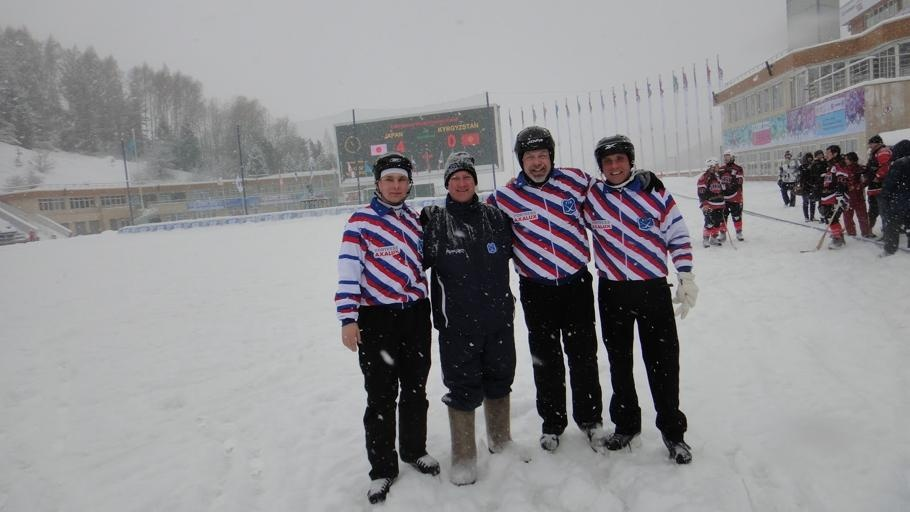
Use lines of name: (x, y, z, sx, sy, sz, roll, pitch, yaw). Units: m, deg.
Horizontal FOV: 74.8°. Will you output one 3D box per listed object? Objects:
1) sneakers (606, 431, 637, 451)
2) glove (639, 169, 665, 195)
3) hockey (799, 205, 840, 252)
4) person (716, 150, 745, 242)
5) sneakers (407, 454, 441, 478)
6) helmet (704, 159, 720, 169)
sneakers: (3.284, 3.641, 11.738, 0.574, 0.284, 0.229, -9, 5, 0)
glove: (3.875, -1.465, 11.684, 0.519, 0.443, 0.212, -6, 7, -11)
hockey: (11.714, -0.845, 18.976, 0.323, 0.278, 1.941, 29, 69, 38)
person: (9.259, -1.969, 19.762, 0.692, 2.887, 1.457, -2, 8, 24)
sneakers: (-0.571, 4.077, 11.648, 0.569, 0.211, 0.290, 6, 10, 36)
helmet: (8.298, -2.961, 19.090, 0.288, 0.332, 0.418, -1, 9, 30)
